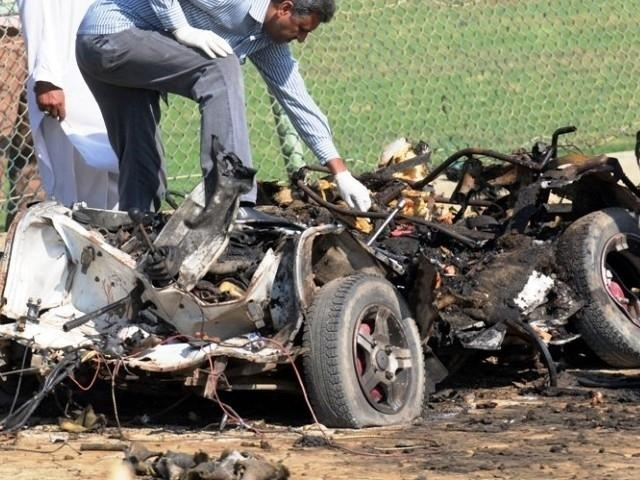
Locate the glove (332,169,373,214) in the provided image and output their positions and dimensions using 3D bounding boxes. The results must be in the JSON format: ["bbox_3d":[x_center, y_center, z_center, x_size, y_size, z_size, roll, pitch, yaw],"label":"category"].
[{"bbox_3d":[0.216,-0.330,7.279,0.230,0.291,0.090,-39,11,-23],"label":"glove"}]

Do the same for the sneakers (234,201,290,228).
[{"bbox_3d":[-0.333,-0.140,6.428,0.337,0.119,0.146,-2,8,-10],"label":"sneakers"}]

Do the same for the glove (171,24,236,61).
[{"bbox_3d":[-0.694,-1.197,6.456,0.318,0.073,0.175,20,47,-13],"label":"glove"}]
